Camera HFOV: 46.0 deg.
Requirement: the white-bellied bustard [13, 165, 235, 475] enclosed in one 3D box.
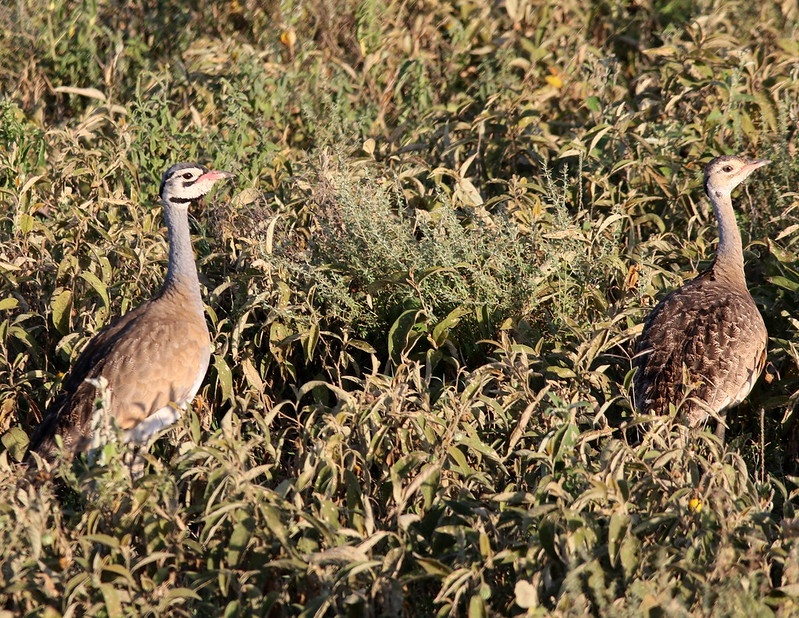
[{"bbox_3d":[-1.399,0.035,5.089,0.728,1.133,1.464,5,32,20],"label":"white-bellied bustard"}]
